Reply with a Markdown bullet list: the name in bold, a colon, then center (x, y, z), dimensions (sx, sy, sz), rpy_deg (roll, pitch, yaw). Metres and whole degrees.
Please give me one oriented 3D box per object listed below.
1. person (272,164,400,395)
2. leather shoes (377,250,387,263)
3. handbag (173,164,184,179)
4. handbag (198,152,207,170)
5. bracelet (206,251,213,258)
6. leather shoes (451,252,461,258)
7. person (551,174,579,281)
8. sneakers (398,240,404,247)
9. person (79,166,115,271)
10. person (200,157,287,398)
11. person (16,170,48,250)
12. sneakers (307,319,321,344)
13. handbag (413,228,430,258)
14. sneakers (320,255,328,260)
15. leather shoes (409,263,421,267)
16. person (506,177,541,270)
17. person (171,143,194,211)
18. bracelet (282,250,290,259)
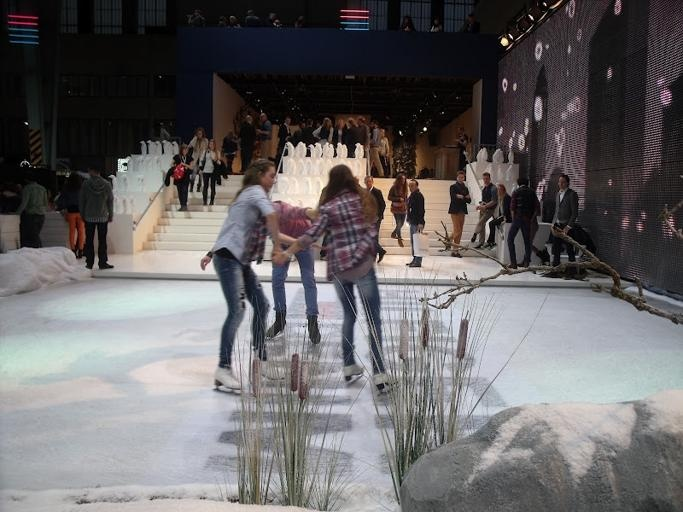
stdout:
- **person**: center (0.052, 0.153, 3.654), dimensions (0.583, 1.659, 0.991), rpy_deg (-4, 7, -37)
- **leather shoes**: center (0.870, 0.032, 10.955), dimensions (0.105, 0.250, 0.333), rpy_deg (0, 15, 8)
- **handbag**: center (-4.358, -2.239, 13.404), dimensions (0.389, 0.395, 0.201), rpy_deg (5, 7, 38)
- **handbag**: center (-4.019, -2.724, 14.362), dimensions (0.126, 0.420, 0.279), rpy_deg (8, 1, 7)
- **bracelet**: center (-1.022, -0.010, 3.890), dimensions (0.051, 0.066, 0.059), rpy_deg (1, -6, 1)
- **leather shoes**: center (2.836, -0.019, 12.430), dimensions (0.092, 0.117, 0.257), rpy_deg (10, 3, 40)
- **person**: center (4.090, -0.660, 9.181), dimensions (0.400, 1.709, 1.891), rpy_deg (3, 6, 24)
- **sneakers**: center (1.503, -0.319, 12.829), dimensions (0.127, 0.194, 0.415), rpy_deg (0, 3, 8)
- **person**: center (-4.628, -0.685, 9.463), dimensions (0.554, 1.843, 0.797), rpy_deg (-3, 6, -29)
- **person**: center (-0.716, 0.133, 3.689), dimensions (0.539, 1.721, 0.804), rpy_deg (-1, 5, -8)
- **person**: center (-6.291, -0.918, 10.069), dimensions (0.546, 1.507, 0.574), rpy_deg (-1, 6, -10)
- **sneakers**: center (-0.249, 0.693, 4.565), dimensions (0.134, 0.308, 0.086), rpy_deg (-1, 8, 14)
- **handbag**: center (1.587, -0.220, 10.170), dimensions (0.280, 0.484, 0.228), rpy_deg (1, 6, 12)
- **sneakers**: center (-0.416, 0.079, 11.291), dimensions (0.216, 0.171, 0.301), rpy_deg (1, -3, -4)
- **leather shoes**: center (1.501, 0.193, 10.270), dimensions (0.211, 0.091, 0.444), rpy_deg (2, 6, 13)
- **person**: center (3.554, -0.624, 9.879), dimensions (0.542, 1.881, 1.523), rpy_deg (2, 6, 21)
- **person**: center (-4.422, -2.130, 13.916), dimensions (0.583, 1.769, 1.300), rpy_deg (-2, 6, -19)
- **bracelet**: center (-0.419, -0.009, 3.834), dimensions (0.047, 0.056, 0.052), rpy_deg (0, 5, -1)
